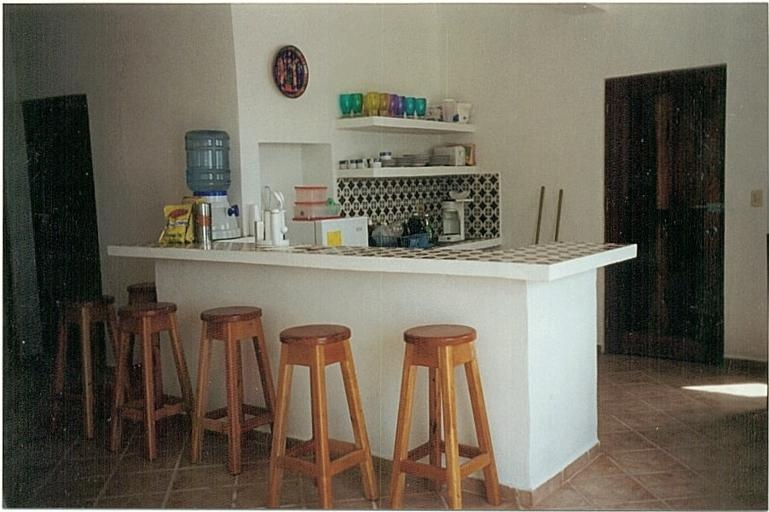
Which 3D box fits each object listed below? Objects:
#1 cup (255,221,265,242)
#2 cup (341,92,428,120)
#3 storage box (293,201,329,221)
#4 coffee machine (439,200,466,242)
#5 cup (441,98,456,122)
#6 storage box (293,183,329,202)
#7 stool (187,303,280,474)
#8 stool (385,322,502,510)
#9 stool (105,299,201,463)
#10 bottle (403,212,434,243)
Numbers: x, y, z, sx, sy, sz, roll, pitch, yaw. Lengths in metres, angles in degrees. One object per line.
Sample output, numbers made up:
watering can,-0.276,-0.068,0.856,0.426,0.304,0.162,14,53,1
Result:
cup,-0.637,-0.125,3.324,0.053,0.114,0.025,-3,7,-1
cup,-0.011,-0.658,2.875,0.409,0.135,0.095,-2,7,13
storage box,-0.388,-0.222,3.373,0.116,0.073,0.118,0,2,24
coffee machine,0.310,-0.160,3.006,0.122,0.190,0.120,-2,7,8
cup,0.269,-0.619,2.780,0.089,0.099,0.047,-8,9,-35
storage box,-0.388,-0.314,3.373,0.115,0.072,0.117,1,3,39
stool,-0.704,0.595,3.057,0.401,0.680,0.389,-3,2,-34
stool,0.250,0.681,2.777,0.419,0.780,0.290,0,8,27
stool,-1.067,0.551,2.951,0.370,0.683,0.166,-6,7,-19
bottle,0.167,-0.139,3.072,0.173,0.138,0.086,2,9,37
